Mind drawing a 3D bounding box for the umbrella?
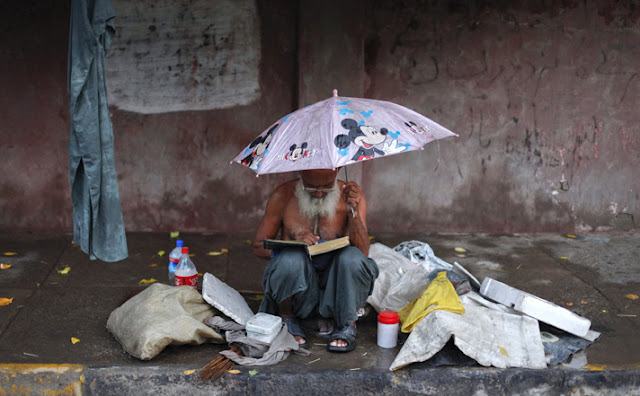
[{"bbox_3d":[0.306,-0.556,7.295,1.315,0.522,1.304,-4,11,37],"label":"umbrella"}]

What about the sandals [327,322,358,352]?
[{"bbox_3d":[0.222,1.435,7.327,0.295,0.249,0.188,1,12,2],"label":"sandals"}]

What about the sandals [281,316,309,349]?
[{"bbox_3d":[-0.255,1.378,7.390,0.142,0.196,0.453,-34,53,-13],"label":"sandals"}]

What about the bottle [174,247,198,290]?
[{"bbox_3d":[-1.475,0.776,7.802,0.247,0.458,0.391,-3,13,-12],"label":"bottle"}]

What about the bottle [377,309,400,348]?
[{"bbox_3d":[0.701,1.347,7.382,0.221,0.365,0.198,1,13,1],"label":"bottle"}]
